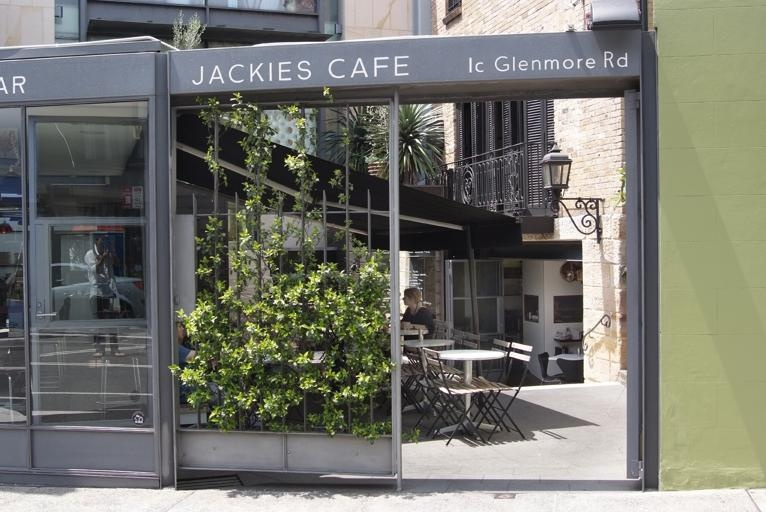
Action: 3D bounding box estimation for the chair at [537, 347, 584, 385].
[{"bbox_3d":[3.097,1.938,19.472,0.657,0.899,0.619,-7,4,11],"label":"chair"}]

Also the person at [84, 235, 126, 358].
[{"bbox_3d":[-3.050,0.442,12.270,0.430,1.267,0.324,0,11,1],"label":"person"}]

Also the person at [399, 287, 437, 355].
[{"bbox_3d":[0.454,0.803,15.931,0.486,0.699,0.564,4,3,-38],"label":"person"}]

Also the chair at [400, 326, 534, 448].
[{"bbox_3d":[1.050,1.622,14.530,1.539,1.049,2.184,-1,10,-1],"label":"chair"}]
